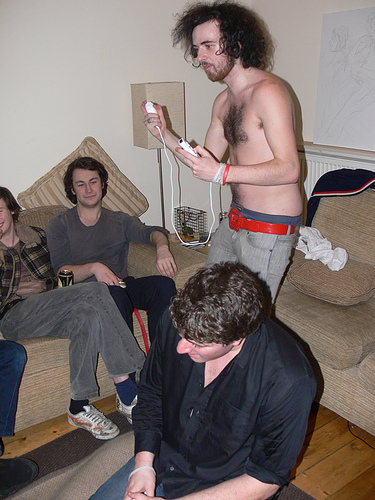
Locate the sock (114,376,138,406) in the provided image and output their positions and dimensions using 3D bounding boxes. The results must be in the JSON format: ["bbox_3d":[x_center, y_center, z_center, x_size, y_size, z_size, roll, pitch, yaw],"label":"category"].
[{"bbox_3d":[-0.278,0.609,1.839,0.063,0.071,0.172,-22,33,-29],"label":"sock"}]

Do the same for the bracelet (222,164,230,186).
[{"bbox_3d":[0.137,-0.274,1.489,0.015,0.057,0.060,20,-10,6],"label":"bracelet"}]

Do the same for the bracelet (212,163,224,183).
[{"bbox_3d":[0.108,-0.285,1.517,0.014,0.054,0.057,35,3,8],"label":"bracelet"}]

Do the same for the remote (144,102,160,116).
[{"bbox_3d":[-0.166,-0.646,1.863,0.034,0.059,0.014,-44,25,-10],"label":"remote"}]

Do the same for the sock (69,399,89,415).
[{"bbox_3d":[-0.484,0.688,1.806,0.082,0.085,0.057,-5,14,-19],"label":"sock"}]

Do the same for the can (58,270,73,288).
[{"bbox_3d":[-0.610,0.139,2.022,0.083,0.133,0.080,2,12,0],"label":"can"}]

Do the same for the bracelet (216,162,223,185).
[{"bbox_3d":[0.111,-0.277,1.481,0.022,0.058,0.058,6,27,12],"label":"bracelet"}]

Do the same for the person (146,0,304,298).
[{"bbox_3d":[0.197,-0.396,1.924,0.655,1.356,0.991,3,13,15],"label":"person"}]

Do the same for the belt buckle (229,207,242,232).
[{"bbox_3d":[0.191,-0.129,1.672,0.026,0.094,0.092,-4,13,-13],"label":"belt buckle"}]
